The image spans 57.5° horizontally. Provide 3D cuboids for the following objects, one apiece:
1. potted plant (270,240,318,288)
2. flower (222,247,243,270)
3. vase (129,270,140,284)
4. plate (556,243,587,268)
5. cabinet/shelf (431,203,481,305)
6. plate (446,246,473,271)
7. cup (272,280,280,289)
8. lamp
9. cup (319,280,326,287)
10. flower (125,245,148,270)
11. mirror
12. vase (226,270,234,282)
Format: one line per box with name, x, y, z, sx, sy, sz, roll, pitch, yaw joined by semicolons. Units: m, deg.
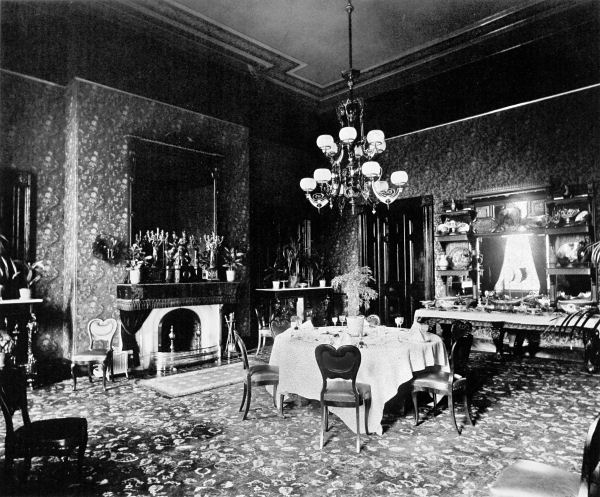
potted plant;-0.074;0.307;10.849;0.631;1.027;0.924;1;-8;-6
flower;-1.163;0.168;9.418;0.313;0.334;0.351;0;1;3
vase;-2.447;0.406;7.979;0.178;0.220;0.160;1;8;9
plate;3.940;0.101;7.878;0.290;0.273;0.315;2;-5;-38
cabinet/shelf;2.711;0.038;9.545;0.892;1.726;0.714;5;9;38
plate;2.772;0.179;9.429;0.363;0.421;0.075;23;9;38
cup;-0.446;0.669;10.073;0.109;0.117;0.136;-1;-7;5
lamp;0.785;-1.896;8.051;1.366;2.807;3.381;0;8;6
cup;0.448;0.691;10.794;0.116;0.109;0.108;1;1;0
flower;-2.480;0.127;8.191;0.309;0.413;0.334;2;1;35
mirror;-2.107;-0.756;8.755;1.905;2.627;0.165;5;-8;-44
vase;-1.164;0.463;9.236;0.150;0.201;0.159;-3;-6;28
